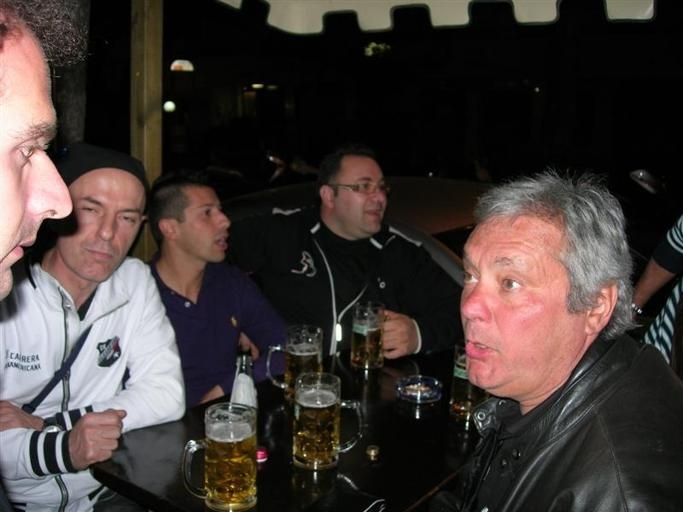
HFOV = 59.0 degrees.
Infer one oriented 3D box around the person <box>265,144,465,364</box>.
[{"bbox_3d":[0.099,-0.011,3.535,1.523,1.120,0.793,5,6,-26],"label":"person"}]
